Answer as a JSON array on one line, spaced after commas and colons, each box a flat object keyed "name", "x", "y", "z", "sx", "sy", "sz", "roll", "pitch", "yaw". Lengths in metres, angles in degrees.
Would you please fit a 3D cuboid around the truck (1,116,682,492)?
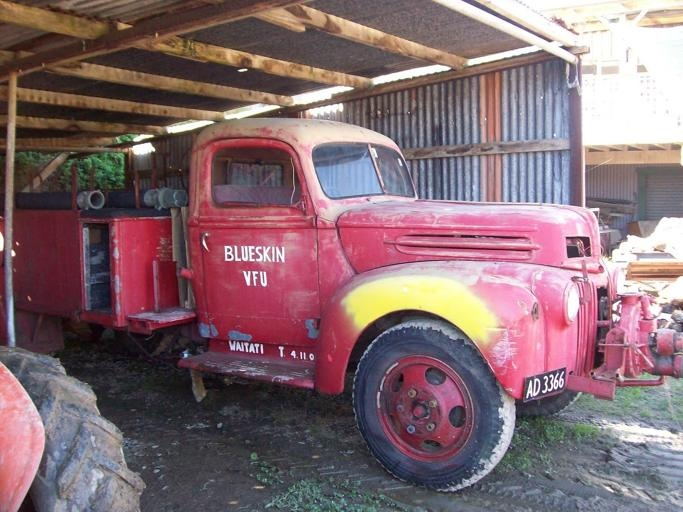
[{"name": "truck", "x": -0.251, "y": 0.145, "z": 4.410, "sx": 5.346, "sy": 2.608, "sz": 1.518, "roll": 3, "pitch": 14, "yaw": 23}]
